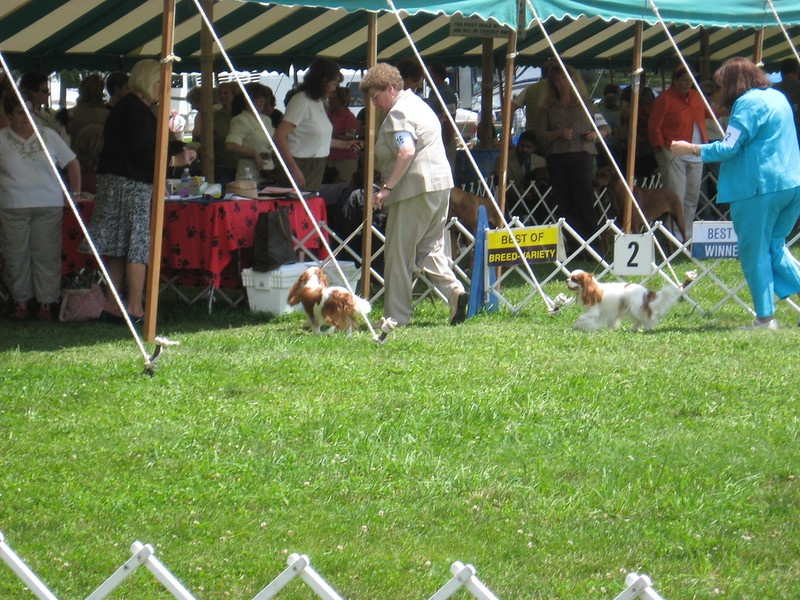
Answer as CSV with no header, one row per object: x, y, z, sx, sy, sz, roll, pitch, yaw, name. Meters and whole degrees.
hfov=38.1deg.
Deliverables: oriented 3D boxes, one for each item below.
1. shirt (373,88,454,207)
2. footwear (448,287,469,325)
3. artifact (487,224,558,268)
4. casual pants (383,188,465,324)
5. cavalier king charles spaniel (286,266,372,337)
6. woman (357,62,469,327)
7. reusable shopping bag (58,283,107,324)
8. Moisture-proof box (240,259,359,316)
0.125,-1.324,10.153,0.683,1.241,0.945,-1,10,23,shirt
0.511,0.079,10.099,0.104,0.356,0.145,-3,33,-12,footwear
1.142,-0.493,10.498,0.765,0.330,0.123,-5,6,-25,artifact
0.187,-0.362,10.191,0.649,1.258,0.623,21,30,29,casual pants
-0.571,0.046,9.739,0.369,0.528,0.773,-5,19,-41,cavalier king charles spaniel
0.102,-0.893,9.994,0.757,2.261,0.780,2,9,26,woman
-2.965,0.127,10.822,0.296,0.287,0.403,-40,5,19,reusable shopping bag
-0.972,-0.196,10.966,0.499,0.385,0.857,1,4,30,Moisture-proof box
